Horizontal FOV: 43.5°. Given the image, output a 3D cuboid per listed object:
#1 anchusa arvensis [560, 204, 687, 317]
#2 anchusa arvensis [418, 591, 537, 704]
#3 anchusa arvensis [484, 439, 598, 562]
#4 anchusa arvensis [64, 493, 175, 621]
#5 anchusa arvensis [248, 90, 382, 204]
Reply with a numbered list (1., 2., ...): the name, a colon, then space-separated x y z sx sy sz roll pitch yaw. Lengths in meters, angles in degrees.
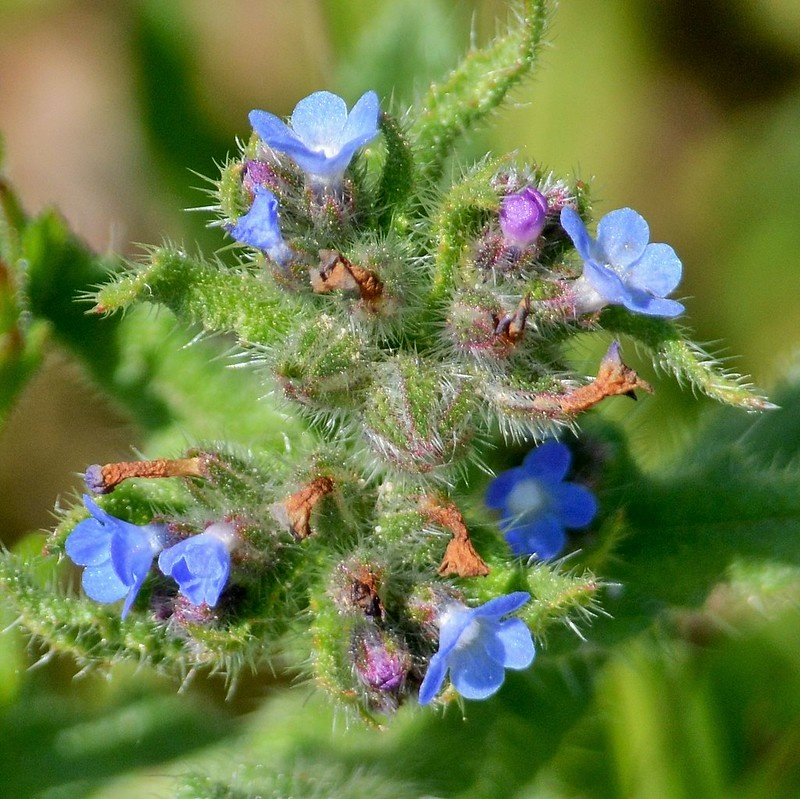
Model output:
1. anchusa arvensis: 0.547 -0.334 2.462 0.211 0.230 0.360 2 95 -3
2. anchusa arvensis: 0.162 0.576 2.359 0.273 0.317 0.240 -6 68 -6
3. anchusa arvensis: 0.423 0.319 3.011 0.327 0.085 0.359 -32 102 -19
4. anchusa arvensis: -0.691 0.356 2.353 0.221 0.183 0.248 17 68 3
5. anchusa arvensis: -0.204 -0.654 2.571 0.334 0.338 0.246 1 75 27
